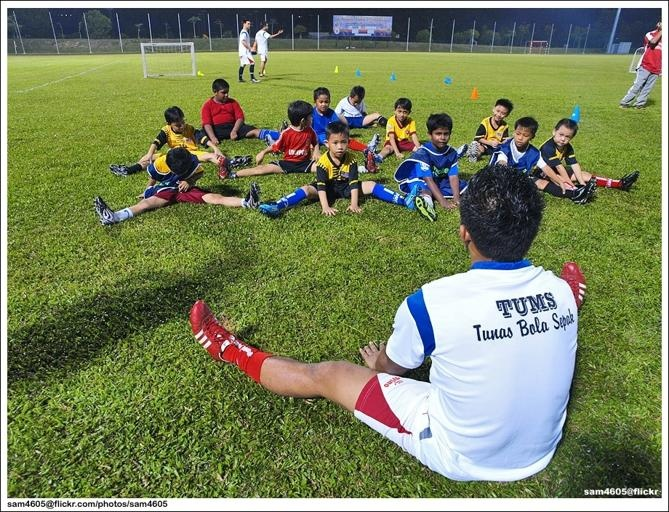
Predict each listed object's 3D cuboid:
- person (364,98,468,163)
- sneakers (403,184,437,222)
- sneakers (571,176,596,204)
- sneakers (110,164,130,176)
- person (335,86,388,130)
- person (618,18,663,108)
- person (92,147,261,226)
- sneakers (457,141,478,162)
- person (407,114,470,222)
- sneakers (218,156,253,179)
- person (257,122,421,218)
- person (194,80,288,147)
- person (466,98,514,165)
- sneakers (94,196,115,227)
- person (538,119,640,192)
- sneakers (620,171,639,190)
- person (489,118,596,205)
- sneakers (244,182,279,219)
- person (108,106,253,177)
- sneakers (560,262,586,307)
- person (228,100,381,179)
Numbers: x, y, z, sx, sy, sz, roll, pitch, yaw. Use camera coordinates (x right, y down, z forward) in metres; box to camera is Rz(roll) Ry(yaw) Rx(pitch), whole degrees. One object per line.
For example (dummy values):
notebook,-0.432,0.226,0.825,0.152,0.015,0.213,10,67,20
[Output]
person,1.146,-1.969,7.279,1.028,0.938,1.137,10,22,32
sneakers,1.002,-0.642,5.318,0.280,0.204,0.600,35,10,-16
sneakers,2.952,-0.729,5.566,0.226,0.472,0.169,28,82,27
sneakers,-2.980,-1.188,6.417,0.318,0.128,0.161,2,9,15
person,0.526,-2.853,9.052,1.029,0.859,0.885,-3,21,-7
person,7.342,-4.501,11.008,0.676,1.887,1.377,14,32,28
person,-1.899,-0.947,5.804,1.883,0.809,0.887,9,26,17
sneakers,2.075,-1.647,7.356,0.283,0.220,0.610,-31,13,6
person,1.205,-1.154,5.574,0.712,1.082,1.075,1,26,14
sneakers,-1.407,-1.244,6.562,0.414,0.193,0.137,-37,54,-24
person,-0.007,-1.076,5.550,1.751,1.026,1.064,-4,20,-11
person,-1.642,-2.359,7.831,1.489,1.056,0.998,13,34,26
person,2.494,-1.942,7.350,0.506,1.017,1.010,20,34,19
sneakers,-2.482,-0.434,5.049,0.133,0.388,0.173,-17,16,-9
person,3.138,-1.245,5.968,0.691,0.963,1.304,-10,22,-10
sneakers,3.669,-0.939,5.816,0.165,0.263,0.128,-4,28,-5
person,2.587,-1.191,5.852,0.905,0.987,1.367,-20,29,-30
sneakers,-0.862,-0.648,5.503,0.429,0.165,0.302,38,45,10
person,-2.236,-1.714,6.830,1.909,0.895,1.000,-8,29,-22
sneakers,1.778,0.215,3.482,0.110,0.145,0.347,-9,48,35
person,-0.488,-1.864,6.895,2.219,1.153,0.964,-14,43,-15
